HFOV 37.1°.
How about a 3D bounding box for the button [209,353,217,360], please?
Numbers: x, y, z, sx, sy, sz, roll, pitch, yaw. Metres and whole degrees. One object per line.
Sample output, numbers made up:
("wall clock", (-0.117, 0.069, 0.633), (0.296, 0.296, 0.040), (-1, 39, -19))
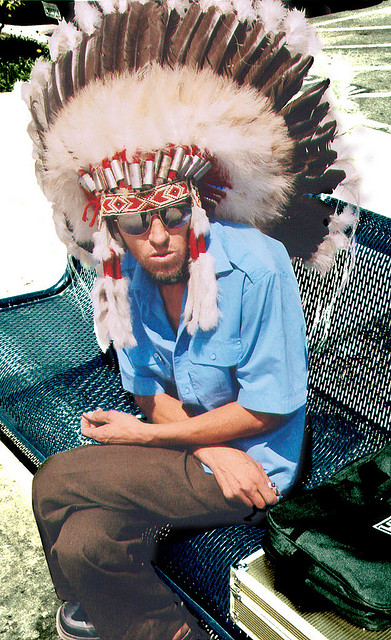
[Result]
("button", (0.038, 0.084, 1.336), (0.014, 0.013, 0.003), (3, 7, 16))

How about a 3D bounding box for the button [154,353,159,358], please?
("button", (-0.104, 0.094, 1.525), (0.010, 0.010, 0.002), (5, 8, 37))

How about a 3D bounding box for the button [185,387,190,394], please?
("button", (-0.020, 0.172, 1.435), (0.014, 0.013, 0.003), (0, 1, 34))

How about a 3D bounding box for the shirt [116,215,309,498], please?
("shirt", (0.058, 0.058, 1.455), (0.491, 0.685, 0.271), (20, 44, 38))

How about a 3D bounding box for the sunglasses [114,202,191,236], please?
("sunglasses", (-0.082, -0.209, 1.199), (0.152, 0.065, 0.035), (-8, 33, 2))

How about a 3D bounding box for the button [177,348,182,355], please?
("button", (-0.038, 0.076, 1.414), (0.014, 0.012, 0.009), (-2, 3, 8))
